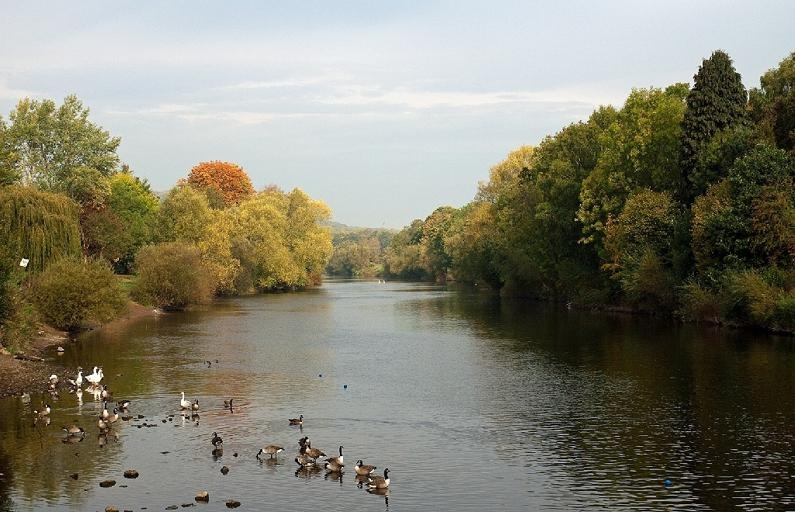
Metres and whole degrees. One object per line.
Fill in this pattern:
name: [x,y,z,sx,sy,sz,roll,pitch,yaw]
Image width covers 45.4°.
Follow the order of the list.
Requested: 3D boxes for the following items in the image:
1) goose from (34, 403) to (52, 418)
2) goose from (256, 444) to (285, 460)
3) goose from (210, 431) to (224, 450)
goose: [-21.423,9.435,57.229,1.177,0.910,0.642,9,1,10]
goose: [-7.092,10.974,52.979,1.533,0.672,0.893,-3,12,-9]
goose: [-10.351,10.718,54.419,0.555,0.718,0.979,5,-12,1]
